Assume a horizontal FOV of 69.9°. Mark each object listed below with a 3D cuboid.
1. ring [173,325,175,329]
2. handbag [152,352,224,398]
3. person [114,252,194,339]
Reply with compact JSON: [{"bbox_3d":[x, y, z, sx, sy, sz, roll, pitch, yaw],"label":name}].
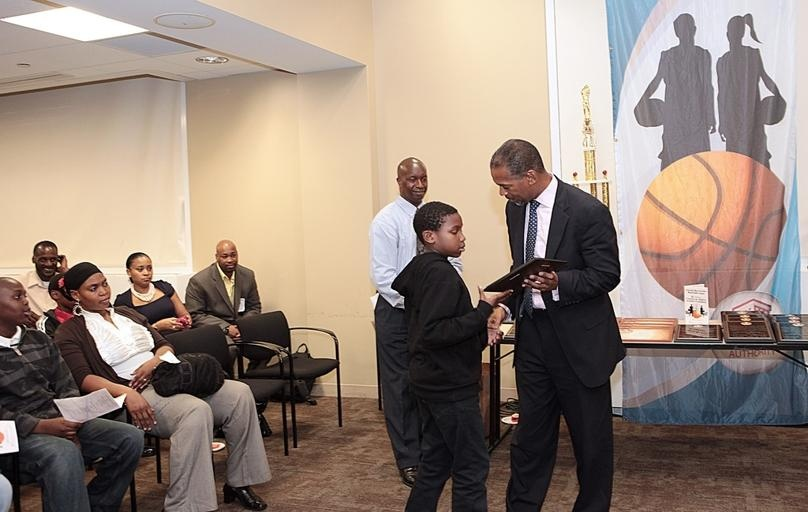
[{"bbox_3d":[-2.201,0.683,5.546,0.028,0.028,0.008,1,2,-14],"label":"ring"},{"bbox_3d":[-1.723,0.959,4.385,0.327,0.183,0.433,-34,-40,20],"label":"handbag"},{"bbox_3d":[-2.496,0.474,5.775,0.760,0.957,0.637,6,15,42],"label":"person"}]
